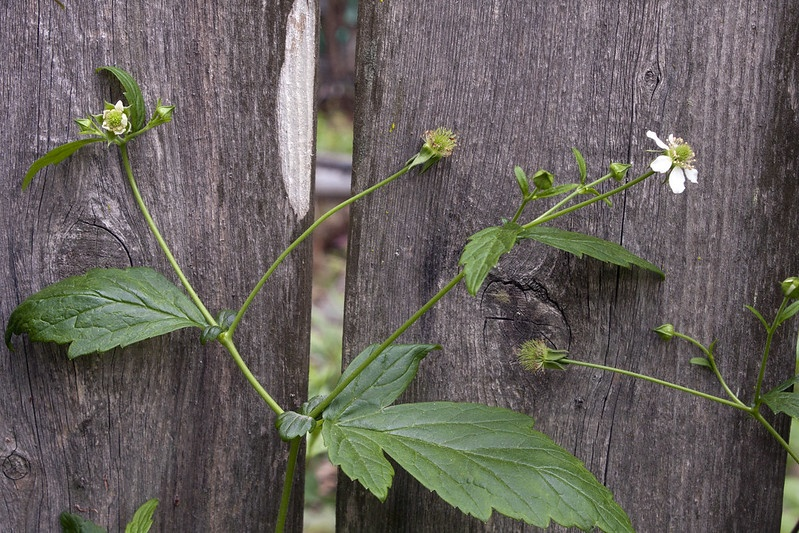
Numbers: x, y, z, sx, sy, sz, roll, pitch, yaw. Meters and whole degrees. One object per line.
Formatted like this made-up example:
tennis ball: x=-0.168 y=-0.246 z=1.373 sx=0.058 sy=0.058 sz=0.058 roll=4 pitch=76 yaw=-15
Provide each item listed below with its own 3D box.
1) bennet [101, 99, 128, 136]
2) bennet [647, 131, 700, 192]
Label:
bennet: x=-0.818 y=-0.422 z=2.454 sx=0.073 sy=0.090 sz=0.033 roll=-12 pitch=2 yaw=-6
bennet: x=0.769 y=-0.294 z=2.429 sx=0.154 sy=0.170 sz=0.226 roll=6 pitch=5 yaw=18
